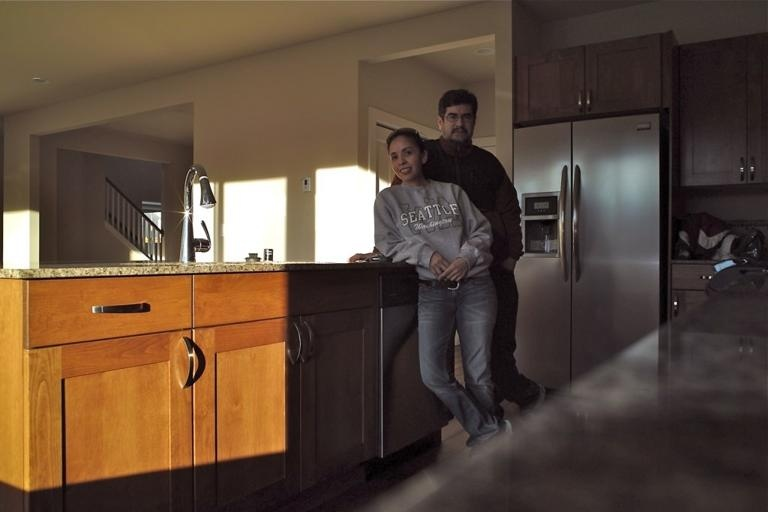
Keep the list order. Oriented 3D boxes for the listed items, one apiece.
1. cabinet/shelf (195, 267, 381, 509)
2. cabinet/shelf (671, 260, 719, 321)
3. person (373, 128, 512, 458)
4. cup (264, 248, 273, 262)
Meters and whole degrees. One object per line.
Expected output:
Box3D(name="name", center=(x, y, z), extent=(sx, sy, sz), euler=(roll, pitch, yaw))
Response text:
Box3D(name="cabinet/shelf", center=(-0.363, 0.468, 2.052), extent=(0.410, 0.753, 0.860), euler=(-4, -3, 33))
Box3D(name="cabinet/shelf", center=(1.693, 0.185, 3.193), extent=(0.224, 0.299, 0.143), euler=(-4, 11, 30))
Box3D(name="person", center=(0.225, 0.118, 2.450), extent=(0.478, 1.319, 0.355), euler=(-7, 10, 15))
Box3D(name="cup", center=(-0.535, -0.001, 2.688), extent=(0.051, 0.057, 0.051), euler=(-1, -5, 0))
